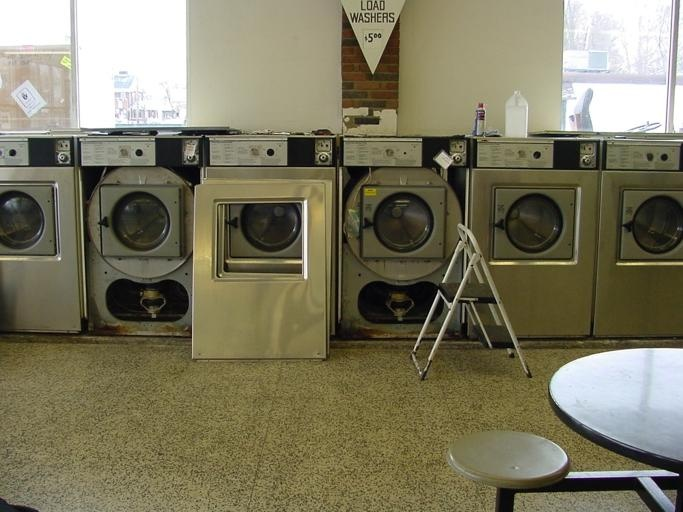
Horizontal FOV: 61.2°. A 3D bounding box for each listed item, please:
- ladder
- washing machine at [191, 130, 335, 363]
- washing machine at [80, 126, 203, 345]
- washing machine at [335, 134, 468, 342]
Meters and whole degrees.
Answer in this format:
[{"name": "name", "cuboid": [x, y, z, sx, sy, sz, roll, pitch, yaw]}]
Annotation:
[{"name": "ladder", "cuboid": [0.628, 0.199, 3.784, 0.874, 1.285, 0.709, -1, 10, -1]}, {"name": "washing machine", "cuboid": [-0.480, -0.077, 3.661, 0.895, 1.325, 0.558, 0, 14, -1]}, {"name": "washing machine", "cuboid": [-1.332, -0.157, 3.973, 0.838, 1.345, 0.379, 1, 14, 1]}, {"name": "washing machine", "cuboid": [0.360, -0.152, 4.308, 1.064, 1.697, 1.193, 0, 5, 0]}]
